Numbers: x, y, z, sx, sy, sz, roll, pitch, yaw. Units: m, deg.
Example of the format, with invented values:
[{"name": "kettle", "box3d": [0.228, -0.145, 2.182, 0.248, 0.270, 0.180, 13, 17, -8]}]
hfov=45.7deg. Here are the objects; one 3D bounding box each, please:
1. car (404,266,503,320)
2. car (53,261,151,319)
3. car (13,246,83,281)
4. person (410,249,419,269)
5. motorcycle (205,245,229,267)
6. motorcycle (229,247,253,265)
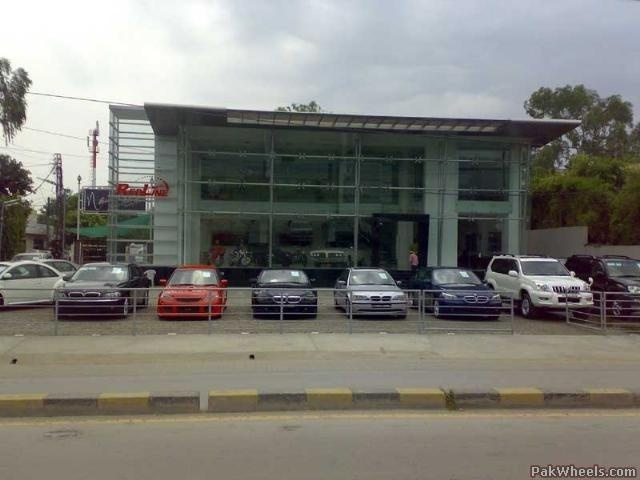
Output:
[{"name": "car", "box3d": [4.177, 1.622, 23.401, 2.611, 1.596, 4.322, 0, -2, 5]}, {"name": "car", "box3d": [-6.429, 1.471, 22.441, 2.441, 1.642, 5.169, 1, -2, -14]}, {"name": "car", "box3d": [-11.534, 0.916, 32.199, 2.278, 0.779, 1.040, 4, -1, -13]}, {"name": "person", "box3d": [4.263, 0.828, 34.502, 0.426, 0.890, 0.947, 0, -2, 8]}, {"name": "motorcycle", "box3d": [-4.688, 0.693, 34.193, 1.123, 1.437, 0.838, 1, -1, -6]}, {"name": "motorcycle", "box3d": [-3.521, 0.628, 33.621, 0.671, 0.891, 0.362, 1, -2, -3]}]
